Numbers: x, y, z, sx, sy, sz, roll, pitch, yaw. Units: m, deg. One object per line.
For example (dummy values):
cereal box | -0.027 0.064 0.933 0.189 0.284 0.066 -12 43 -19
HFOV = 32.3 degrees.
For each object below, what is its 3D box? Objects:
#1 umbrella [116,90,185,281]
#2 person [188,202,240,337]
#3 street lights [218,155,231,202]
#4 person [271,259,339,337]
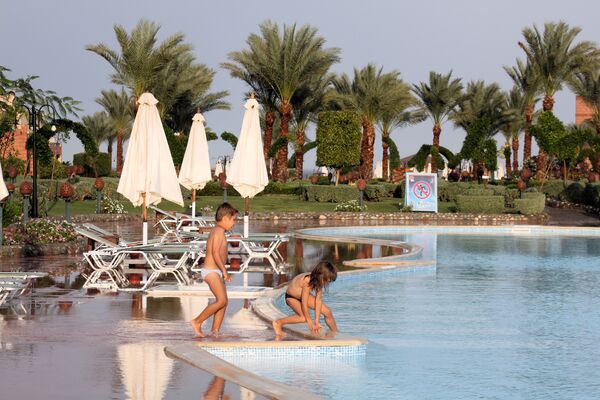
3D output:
umbrella | -4.459 -0.936 31.025 1.757 4.552 0.793 -1 -5 -7
person | -2.171 1.805 26.809 1.084 3.458 0.470 -3 -5 17
street lights | -4.440 -1.475 59.171 0.892 2.820 0.934 -8 25 -18
person | 0.141 2.751 28.068 1.254 1.582 1.106 23 28 20
